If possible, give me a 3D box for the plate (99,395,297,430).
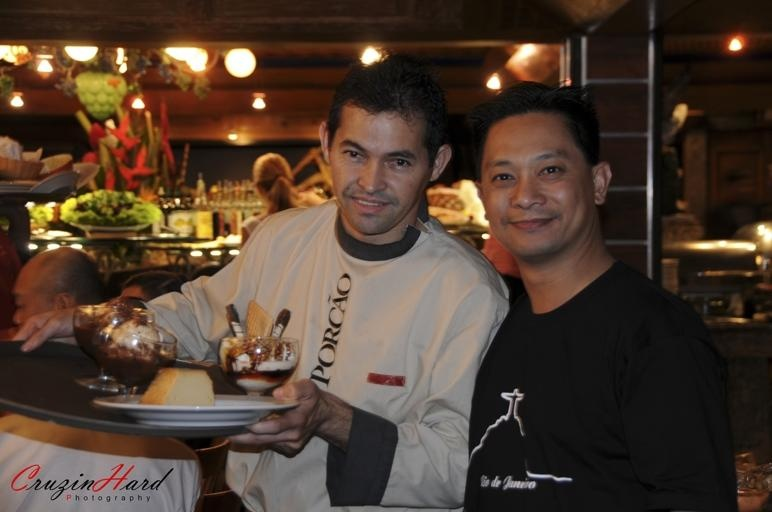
[{"bbox_3d":[-0.542,0.443,2.061,0.556,0.089,0.259,-1,1,-9],"label":"plate"}]

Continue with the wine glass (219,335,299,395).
[{"bbox_3d":[-0.375,0.340,2.320,0.277,0.168,0.218,0,0,30],"label":"wine glass"}]

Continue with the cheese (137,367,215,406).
[{"bbox_3d":[-0.598,0.393,2.099,0.152,0.103,0.191,15,-19,-36],"label":"cheese"}]
